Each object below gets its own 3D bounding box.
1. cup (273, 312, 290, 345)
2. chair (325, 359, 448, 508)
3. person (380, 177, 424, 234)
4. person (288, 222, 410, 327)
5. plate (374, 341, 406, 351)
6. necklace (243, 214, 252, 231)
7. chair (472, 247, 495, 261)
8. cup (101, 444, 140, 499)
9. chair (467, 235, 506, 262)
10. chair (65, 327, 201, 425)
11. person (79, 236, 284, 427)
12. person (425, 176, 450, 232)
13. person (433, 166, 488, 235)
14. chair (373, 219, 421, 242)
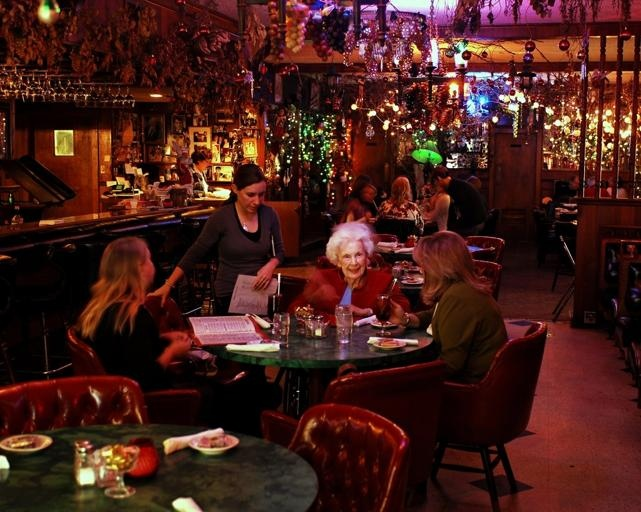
[{"bbox_3d":[-0.206,0.393,3.206,0.080,0.151,0.143,2,8,7],"label":"cup"},{"bbox_3d":[0.286,0.679,2.532,0.500,0.611,0.523,1,2,12],"label":"chair"},{"bbox_3d":[1.179,-0.673,8.881,0.630,1.008,0.543,5,19,9],"label":"person"},{"bbox_3d":[0.156,0.154,3.672,0.741,0.641,0.436,3,3,5],"label":"person"},{"bbox_3d":[0.347,0.453,3.021,0.171,0.032,0.123,1,8,6],"label":"plate"},{"bbox_3d":[-0.533,-0.213,4.216,0.082,0.059,0.020,41,18,5],"label":"necklace"},{"bbox_3d":[1.834,-0.022,6.678,0.180,0.127,0.267,0,7,10],"label":"chair"},{"bbox_3d":[-0.554,0.582,1.618,0.113,0.130,0.110,1,-3,0],"label":"cup"},{"bbox_3d":[1.926,-0.099,7.037,0.352,0.496,0.403,-1,-4,35],"label":"chair"},{"bbox_3d":[-0.947,0.531,2.983,0.526,0.652,0.476,-4,10,-17],"label":"chair"},{"bbox_3d":[-0.798,0.479,3.122,0.838,1.123,0.507,-6,9,-18],"label":"person"},{"bbox_3d":[1.824,-0.834,9.312,0.377,0.830,0.677,2,8,10],"label":"person"},{"bbox_3d":[2.384,-0.768,10.465,0.911,1.710,0.729,-7,30,6],"label":"person"},{"bbox_3d":[1.094,-0.406,8.613,0.503,0.236,0.400,1,4,4],"label":"chair"}]
